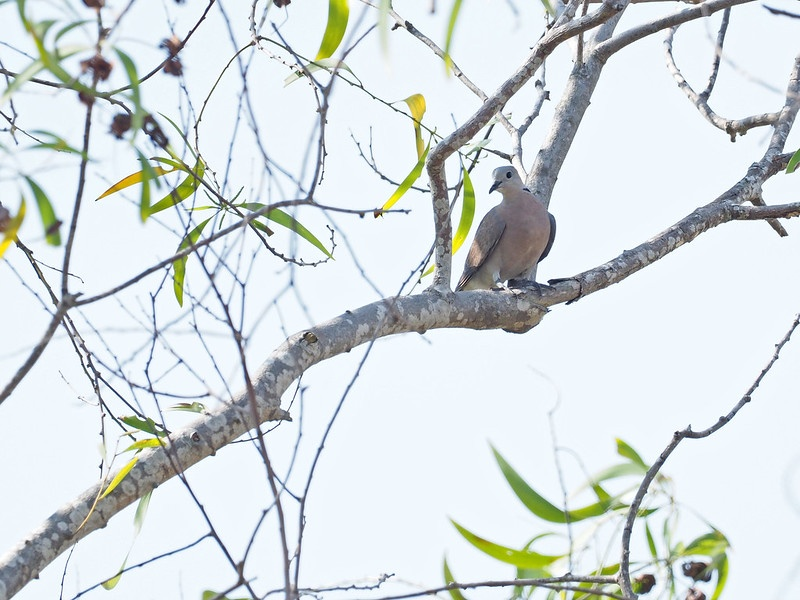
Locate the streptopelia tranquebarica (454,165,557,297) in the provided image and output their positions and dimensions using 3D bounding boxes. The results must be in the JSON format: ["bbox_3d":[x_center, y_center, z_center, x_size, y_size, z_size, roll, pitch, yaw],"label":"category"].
[{"bbox_3d":[0.472,-0.329,5.362,0.374,0.662,0.654,-8,-85,-24],"label":"streptopelia tranquebarica"}]
